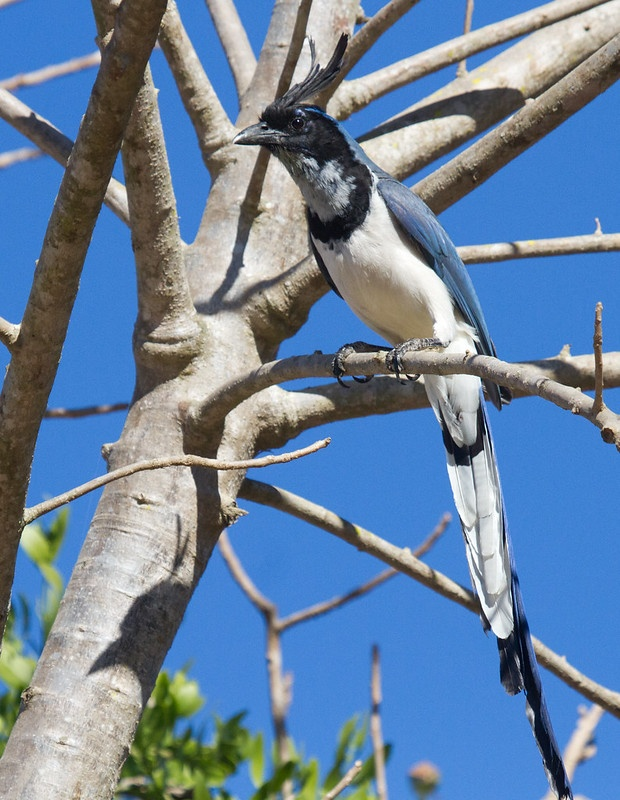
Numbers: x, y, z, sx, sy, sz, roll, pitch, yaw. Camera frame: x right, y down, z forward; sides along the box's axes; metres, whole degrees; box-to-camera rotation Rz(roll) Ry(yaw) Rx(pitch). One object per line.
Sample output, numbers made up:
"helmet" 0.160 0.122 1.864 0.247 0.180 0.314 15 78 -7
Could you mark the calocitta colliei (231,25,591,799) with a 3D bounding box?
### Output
"calocitta colliei" 0.250 -0.084 4.806 0.619 2.666 1.419 -23 -56 24
